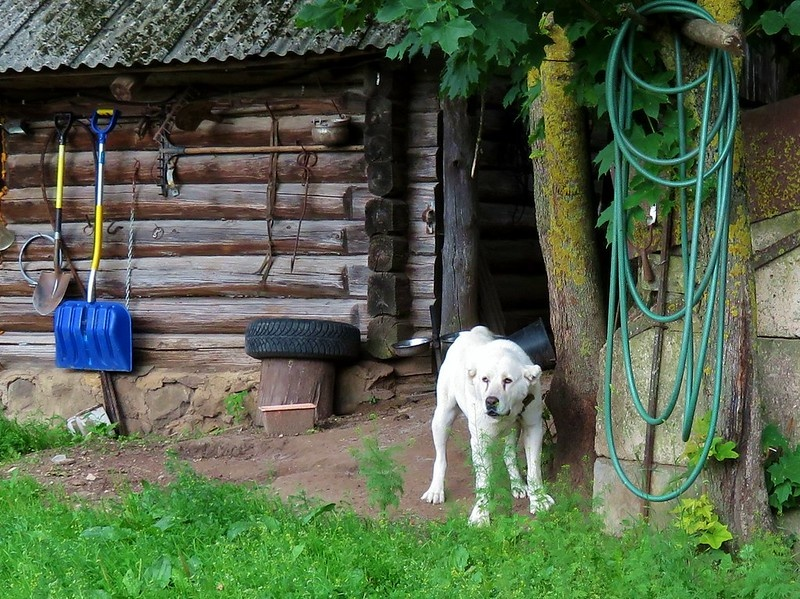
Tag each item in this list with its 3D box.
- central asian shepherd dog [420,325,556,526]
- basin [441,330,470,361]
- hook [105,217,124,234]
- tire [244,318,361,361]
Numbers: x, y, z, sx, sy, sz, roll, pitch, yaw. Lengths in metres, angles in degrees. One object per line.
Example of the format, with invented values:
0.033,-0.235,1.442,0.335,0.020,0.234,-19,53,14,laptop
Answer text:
0.539,0.794,4.740,0.625,1.087,1.769,-5,-4,-10,central asian shepherd dog
0.505,0.457,6.814,0.278,0.294,0.277,0,-1,0,basin
-3.261,-0.795,7.995,0.164,0.155,0.083,-14,7,-9,hook
-0.956,0.414,6.830,0.599,0.195,0.601,-4,-11,17,tire
